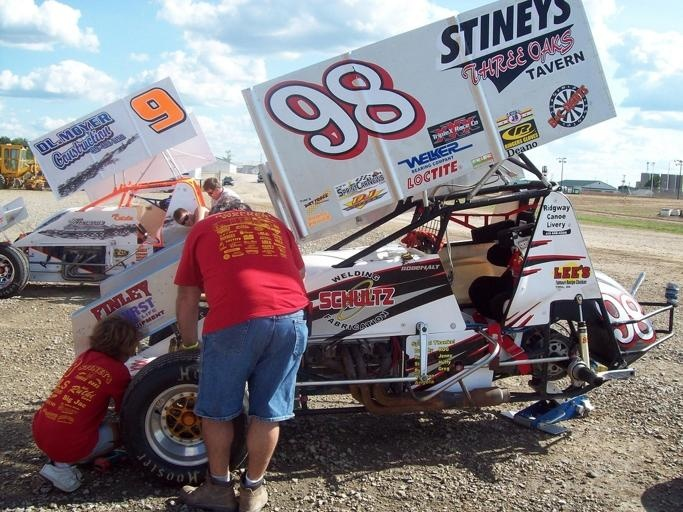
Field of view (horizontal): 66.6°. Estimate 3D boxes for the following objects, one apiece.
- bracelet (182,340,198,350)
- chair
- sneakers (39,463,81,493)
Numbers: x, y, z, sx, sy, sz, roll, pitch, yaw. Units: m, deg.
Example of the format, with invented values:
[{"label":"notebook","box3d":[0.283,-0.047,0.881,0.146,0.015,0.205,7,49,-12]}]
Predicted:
[{"label":"bracelet","box3d":[-1.098,0.649,3.776,0.115,0.025,0.097,-1,-3,-9]},{"label":"chair","box3d":[1.543,0.099,4.858,0.512,1.010,0.954,2,12,0]},{"label":"sneakers","box3d":[-2.004,1.597,3.722,0.163,0.360,0.129,-42,42,28]}]
